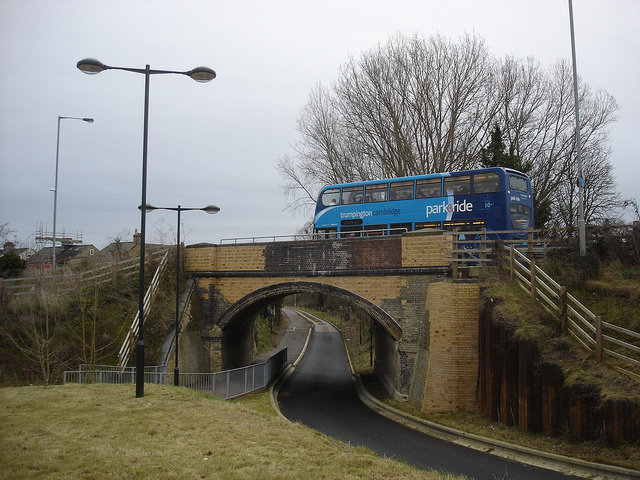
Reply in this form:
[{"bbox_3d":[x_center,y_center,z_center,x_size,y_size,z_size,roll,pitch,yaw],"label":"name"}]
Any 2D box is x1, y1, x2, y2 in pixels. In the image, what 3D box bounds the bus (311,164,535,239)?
[{"bbox_3d":[5.047,-1.552,36.156,10.771,5.398,3.865,-3,14,16],"label":"bus"}]
